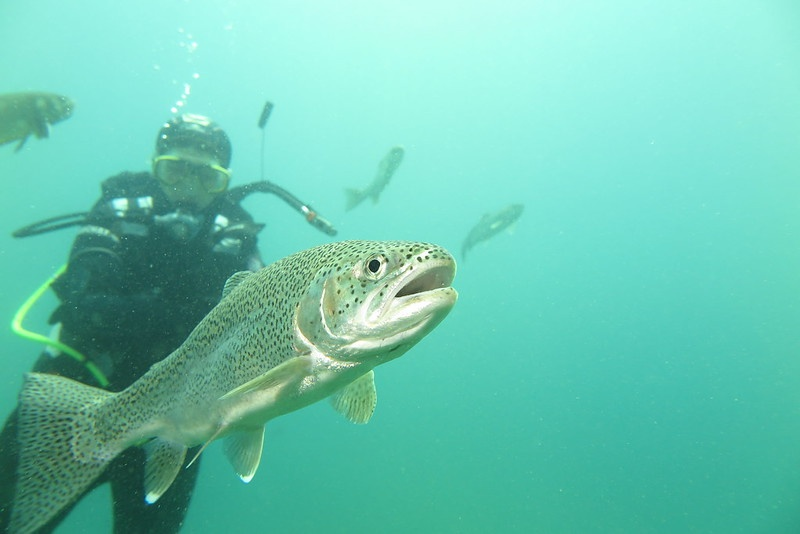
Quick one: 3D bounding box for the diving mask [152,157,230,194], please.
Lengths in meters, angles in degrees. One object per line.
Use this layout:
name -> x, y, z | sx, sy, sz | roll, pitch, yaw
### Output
diving mask -> -4.082, -1.758, 14.431 | 0.941, 0.376, 0.998 | 12, -8, -15

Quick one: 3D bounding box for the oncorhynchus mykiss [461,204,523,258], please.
oncorhynchus mykiss -> 2.073, -0.927, 16.513 | 1.177, 1.651, 1.072 | -3, 1, 19
